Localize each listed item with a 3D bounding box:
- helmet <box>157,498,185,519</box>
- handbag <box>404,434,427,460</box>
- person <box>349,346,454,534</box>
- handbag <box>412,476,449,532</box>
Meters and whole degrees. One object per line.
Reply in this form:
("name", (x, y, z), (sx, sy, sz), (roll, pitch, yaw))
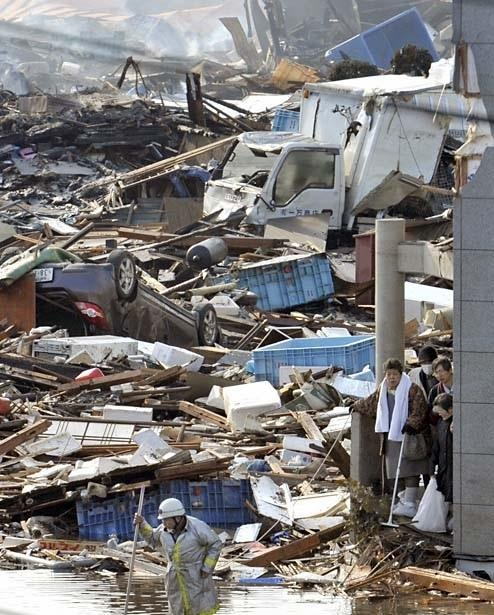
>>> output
("helmet", (-0.458, 1.252, 6.165), (0.197, 0.087, 0.131), (-8, 11, -18))
("handbag", (1.339, 1.109, 7.889), (0.291, 0.202, 0.134), (0, -7, -9))
("person", (1.338, 1.059, 7.998), (0.534, 1.276, 0.899), (1, -8, -22))
("handbag", (1.422, 1.539, 7.705), (0.284, 0.426, 0.266), (-3, -8, 8))
